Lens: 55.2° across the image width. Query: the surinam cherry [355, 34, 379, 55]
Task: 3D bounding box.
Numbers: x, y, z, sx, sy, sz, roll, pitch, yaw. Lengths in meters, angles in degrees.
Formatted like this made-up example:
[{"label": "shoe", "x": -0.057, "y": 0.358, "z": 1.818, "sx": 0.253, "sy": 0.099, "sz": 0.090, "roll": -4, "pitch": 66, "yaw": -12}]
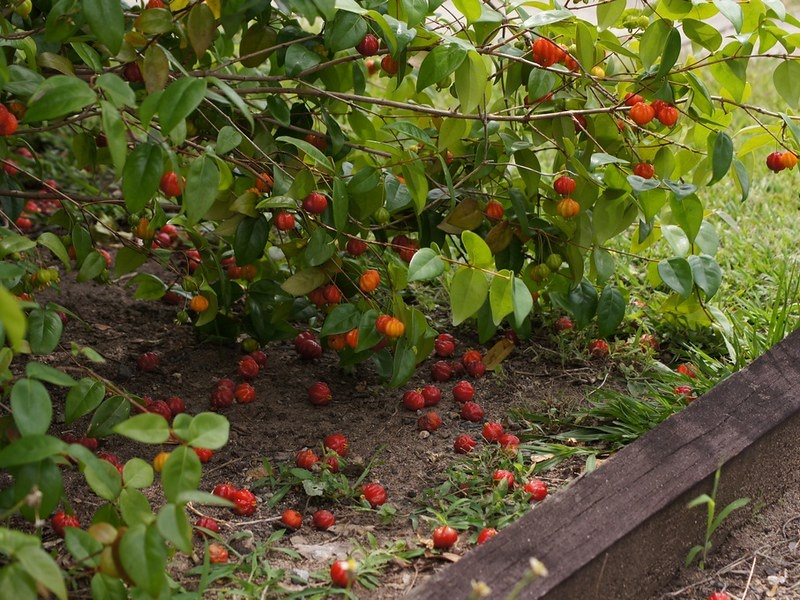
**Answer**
[{"label": "surinam cherry", "x": -0.102, "y": -0.778, "z": 2.348, "sx": 0.075, "sy": 0.080, "sz": 0.070, "roll": -6, "pitch": 16, "yaw": -21}]
